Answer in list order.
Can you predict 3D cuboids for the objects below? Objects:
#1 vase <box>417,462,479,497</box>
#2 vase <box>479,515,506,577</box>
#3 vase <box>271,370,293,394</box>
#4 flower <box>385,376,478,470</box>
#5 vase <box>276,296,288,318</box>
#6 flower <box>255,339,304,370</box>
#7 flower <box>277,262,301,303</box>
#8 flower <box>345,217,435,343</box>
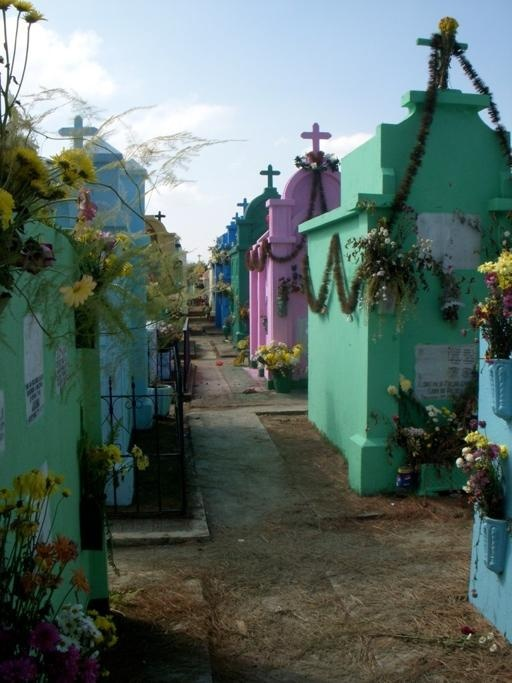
[{"bbox_3d":[1.770,1.251,6.397,0.456,0.241,0.422,-1,1,-10],"label":"vase"},{"bbox_3d":[1.400,1.202,4.075,0.108,0.365,0.147,1,5,-2],"label":"vase"},{"bbox_3d":[0.442,0.716,12.307,0.425,0.416,0.402,-1,-1,-34],"label":"vase"},{"bbox_3d":[1.657,0.809,6.689,0.840,0.850,0.460,-1,-12,-3],"label":"flower"},{"bbox_3d":[0.495,-0.607,12.585,0.213,0.362,0.165,0,5,-10],"label":"vase"},{"bbox_3d":[0.429,0.268,12.357,0.612,0.392,0.614,-5,-2,-7],"label":"flower"},{"bbox_3d":[0.637,-1.100,12.637,0.400,0.629,0.161,1,3,-12],"label":"flower"},{"bbox_3d":[1.271,-0.623,6.453,0.732,0.909,0.544,2,5,12],"label":"flower"}]
